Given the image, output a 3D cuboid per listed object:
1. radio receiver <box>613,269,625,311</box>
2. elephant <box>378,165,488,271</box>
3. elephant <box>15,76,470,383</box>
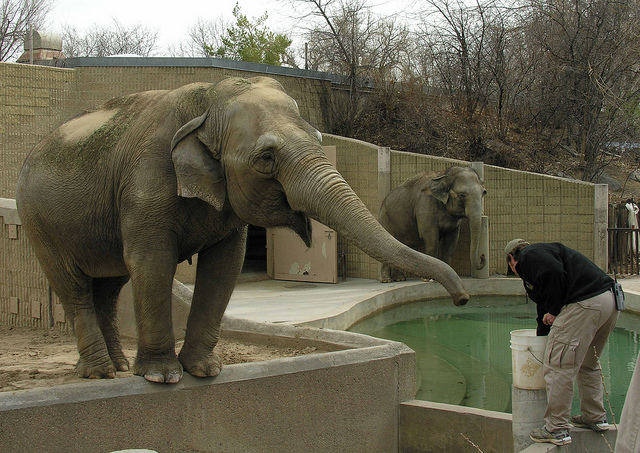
[{"bbox_3d":[3.261,0.768,8.135,0.099,0.339,0.289,-1,2,21],"label":"radio receiver"},{"bbox_3d":[2.580,-0.014,16.834,1.739,2.504,3.211,2,-3,-42],"label":"elephant"},{"bbox_3d":[-1.150,0.101,7.735,4.824,3.259,1.572,1,6,24],"label":"elephant"}]
